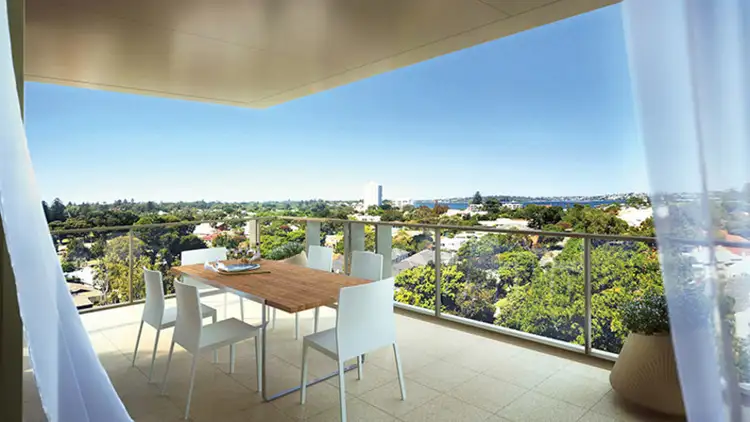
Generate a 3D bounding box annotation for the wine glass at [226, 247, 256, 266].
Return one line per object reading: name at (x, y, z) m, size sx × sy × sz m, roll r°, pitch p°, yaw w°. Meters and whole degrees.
wine glass at (-1.385, 0.497, 4.306) m, size 0.252 × 0.128 × 0.249 m, roll 1°, pitch -8°, yaw -15°

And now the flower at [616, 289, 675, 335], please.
flower at (2.191, 0.848, 3.370) m, size 0.312 × 0.348 × 0.183 m, roll -1°, pitch 4°, yaw 29°
